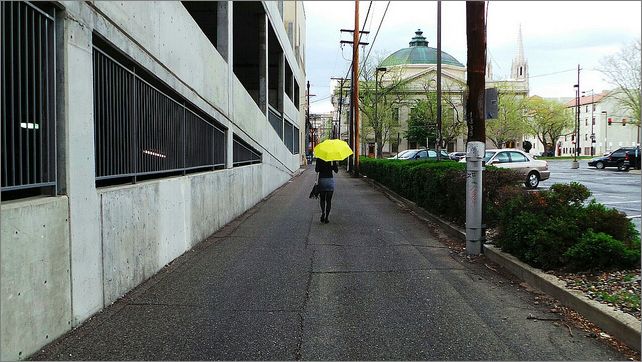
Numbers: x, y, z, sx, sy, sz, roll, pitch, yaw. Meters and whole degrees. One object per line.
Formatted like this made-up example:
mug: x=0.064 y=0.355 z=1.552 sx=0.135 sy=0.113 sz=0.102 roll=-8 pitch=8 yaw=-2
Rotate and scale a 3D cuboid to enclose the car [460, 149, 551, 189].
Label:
car: x=9.347 y=-0.585 z=22.655 sx=2.837 sy=1.794 sz=1.588 roll=3 pitch=14 yaw=11
